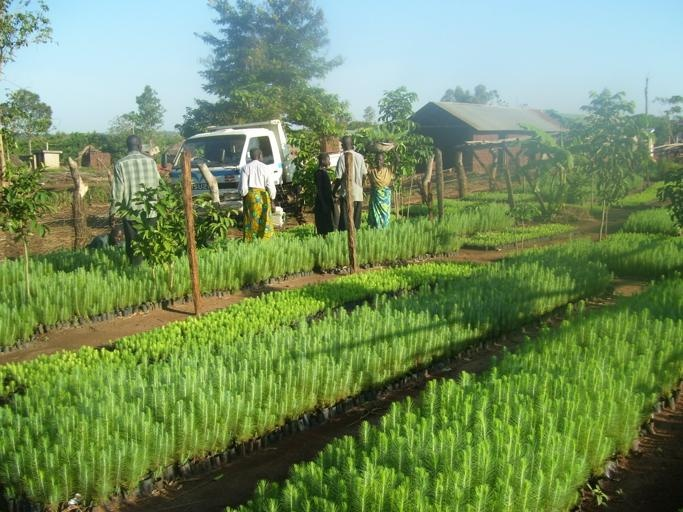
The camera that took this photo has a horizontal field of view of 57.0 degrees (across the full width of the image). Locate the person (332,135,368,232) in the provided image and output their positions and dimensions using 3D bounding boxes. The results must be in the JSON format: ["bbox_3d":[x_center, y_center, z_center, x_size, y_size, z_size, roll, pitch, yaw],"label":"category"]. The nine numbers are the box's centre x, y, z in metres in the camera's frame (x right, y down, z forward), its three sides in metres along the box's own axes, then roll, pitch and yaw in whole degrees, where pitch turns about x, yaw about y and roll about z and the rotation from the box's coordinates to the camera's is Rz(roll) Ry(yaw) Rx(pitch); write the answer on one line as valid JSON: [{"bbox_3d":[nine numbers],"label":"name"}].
[{"bbox_3d":[0.163,-1.343,11.557,0.644,1.744,1.922,-2,4,3],"label":"person"}]

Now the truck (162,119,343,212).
[{"bbox_3d":[-2.354,-2.273,15.378,2.348,2.374,4.829,2,8,27],"label":"truck"}]

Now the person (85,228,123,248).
[{"bbox_3d":[-5.064,-0.383,13.418,0.670,0.235,0.264,-19,21,-4],"label":"person"}]

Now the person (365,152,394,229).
[{"bbox_3d":[0.732,-1.276,12.145,0.464,1.450,0.780,-2,4,2],"label":"person"}]

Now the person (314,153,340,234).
[{"bbox_3d":[-0.289,-1.160,12.201,0.565,1.946,0.749,-3,45,-1],"label":"person"}]

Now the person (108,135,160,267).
[{"bbox_3d":[-3.038,-0.863,9.331,0.697,1.919,1.339,-3,4,-21],"label":"person"}]

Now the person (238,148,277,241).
[{"bbox_3d":[-1.474,-0.984,11.068,0.578,1.397,0.342,-3,3,-10],"label":"person"}]
